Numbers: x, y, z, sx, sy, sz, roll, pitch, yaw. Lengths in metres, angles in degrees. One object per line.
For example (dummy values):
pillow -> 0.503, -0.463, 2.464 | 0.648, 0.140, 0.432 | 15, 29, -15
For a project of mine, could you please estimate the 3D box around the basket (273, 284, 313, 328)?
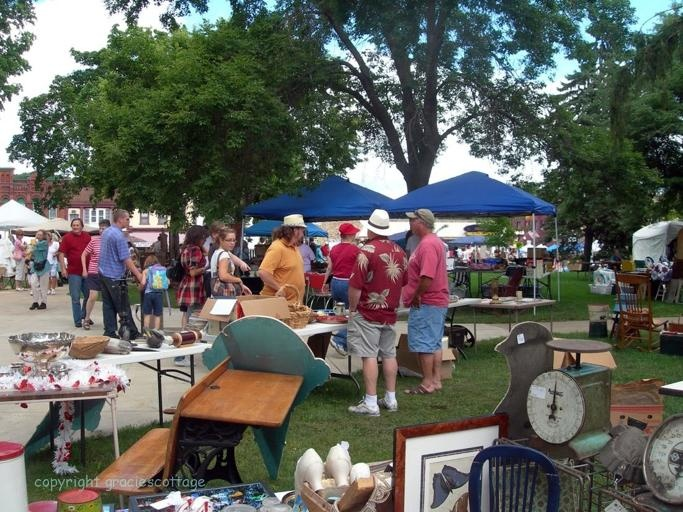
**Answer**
basket -> -0.517, 0.521, 6.802 | 0.390, 0.410, 0.410 | -1, -7, 2

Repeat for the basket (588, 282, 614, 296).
basket -> 8.441, 1.059, 20.979 | 0.752, 0.332, 0.825 | -1, -1, 33

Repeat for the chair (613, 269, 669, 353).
chair -> 5.026, 1.077, 10.659 | 0.827, 1.722, 0.947 | 1, 6, 21

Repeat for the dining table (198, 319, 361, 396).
dining table -> -0.424, 0.625, 4.401 | 0.712, 0.624, 0.547 | 3, 6, 20

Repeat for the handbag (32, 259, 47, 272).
handbag -> -7.051, 0.208, 15.050 | 0.231, 0.248, 0.291 | 1, -9, 2

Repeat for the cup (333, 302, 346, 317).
cup -> -0.032, 0.605, 7.395 | 0.136, 0.149, 0.101 | -1, 2, -10

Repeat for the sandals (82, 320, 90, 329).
sandals -> -4.543, 1.210, 11.451 | 0.084, 0.100, 0.239 | 1, -4, -32

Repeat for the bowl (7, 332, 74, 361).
bowl -> -2.143, 0.639, 4.597 | 0.410, 0.177, 0.352 | 0, -1, -10

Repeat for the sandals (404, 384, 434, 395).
sandals -> 0.914, 1.566, 7.559 | 0.317, 0.105, 0.133 | 2, -5, -4

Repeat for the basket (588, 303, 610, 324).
basket -> 4.583, 1.000, 11.548 | 0.330, 0.381, 0.337 | 2, 1, 38

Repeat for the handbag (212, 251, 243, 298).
handbag -> -1.458, 0.290, 8.176 | 0.365, 0.703, 0.525 | 3, -13, -9

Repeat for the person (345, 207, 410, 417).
person -> 0.345, 0.575, 6.702 | 0.505, 2.137, 0.730 | 0, 0, 35

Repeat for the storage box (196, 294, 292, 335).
storage box -> -0.938, 0.585, 6.328 | 0.753, 0.370, 0.856 | 0, 1, 38
